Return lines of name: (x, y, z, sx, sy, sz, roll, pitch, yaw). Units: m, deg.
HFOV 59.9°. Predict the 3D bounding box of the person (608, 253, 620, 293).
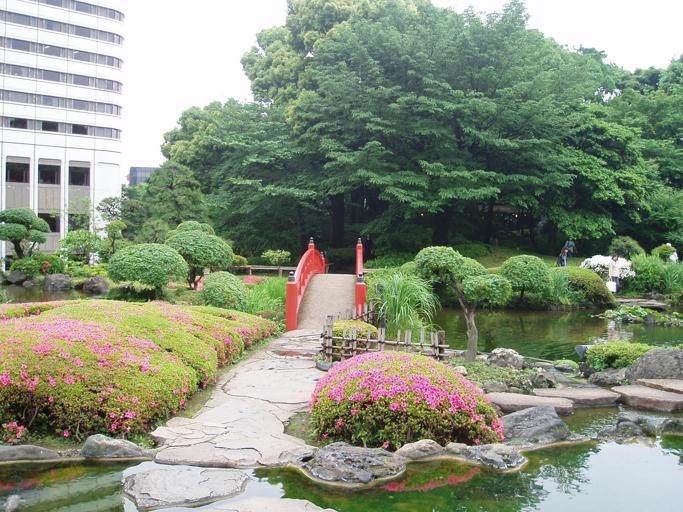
person: (10.036, 0.625, 21.842, 0.352, 1.389, 1.410, 0, -3, 24)
